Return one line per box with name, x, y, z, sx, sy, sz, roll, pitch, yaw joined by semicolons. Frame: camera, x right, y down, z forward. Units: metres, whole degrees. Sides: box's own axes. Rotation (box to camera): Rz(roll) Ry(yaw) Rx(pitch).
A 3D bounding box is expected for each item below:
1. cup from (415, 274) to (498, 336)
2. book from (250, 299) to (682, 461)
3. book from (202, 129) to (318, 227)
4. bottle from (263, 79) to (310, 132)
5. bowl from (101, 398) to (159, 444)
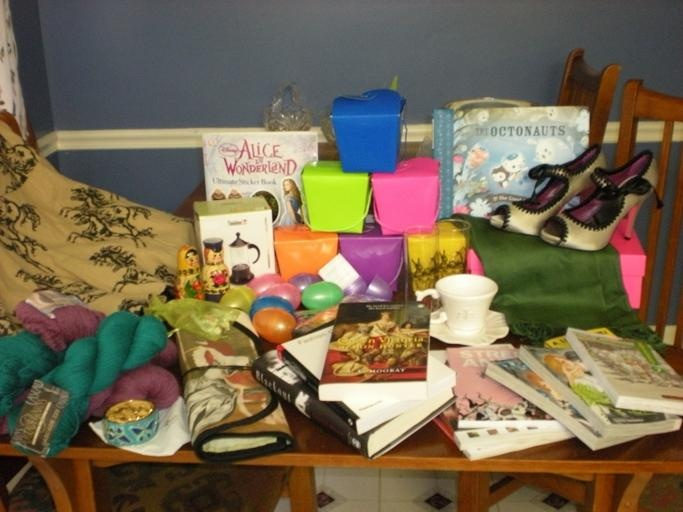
cup;0.258;0.095;1.244;0.140;0.092;0.159;-7;17;-11
book;0.111;0.234;1.020;0.525;0.180;0.275;-5;11;-10
book;-0.202;-0.201;1.435;0.318;0.229;0.041;-2;24;2
bottle;-0.156;-0.441;1.620;0.141;0.151;0.076;-2;-14;-1
bowl;-0.367;0.295;0.989;0.119;0.045;0.108;-4;10;1
